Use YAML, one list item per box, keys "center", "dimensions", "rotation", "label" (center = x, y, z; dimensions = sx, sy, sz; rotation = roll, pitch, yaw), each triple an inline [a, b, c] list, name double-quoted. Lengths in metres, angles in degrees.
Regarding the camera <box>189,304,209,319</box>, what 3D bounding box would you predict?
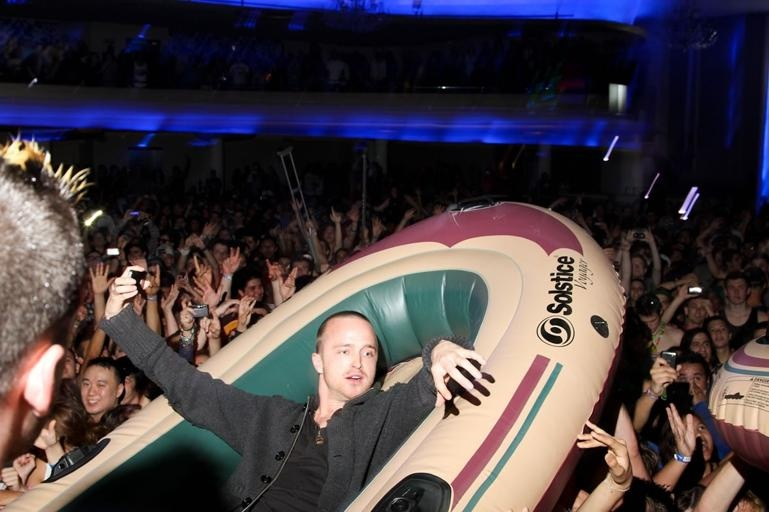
- center: [-1.224, 0.366, 3.200]
  dimensions: [0.154, 0.036, 0.091]
  rotation: [-2, -75, 33]
  label: "camera"
